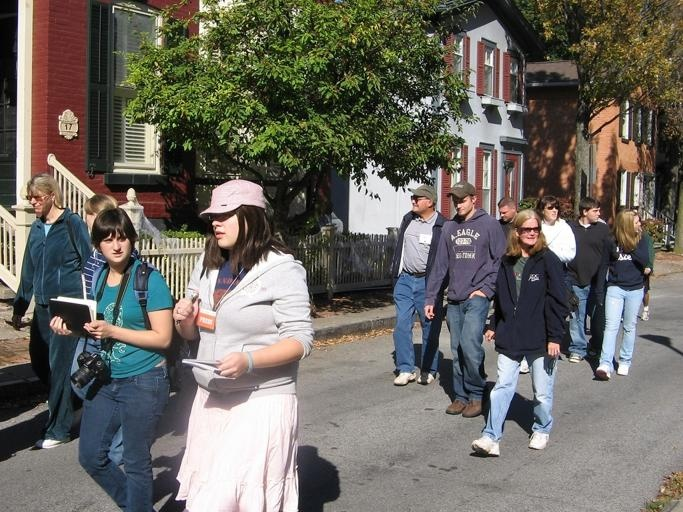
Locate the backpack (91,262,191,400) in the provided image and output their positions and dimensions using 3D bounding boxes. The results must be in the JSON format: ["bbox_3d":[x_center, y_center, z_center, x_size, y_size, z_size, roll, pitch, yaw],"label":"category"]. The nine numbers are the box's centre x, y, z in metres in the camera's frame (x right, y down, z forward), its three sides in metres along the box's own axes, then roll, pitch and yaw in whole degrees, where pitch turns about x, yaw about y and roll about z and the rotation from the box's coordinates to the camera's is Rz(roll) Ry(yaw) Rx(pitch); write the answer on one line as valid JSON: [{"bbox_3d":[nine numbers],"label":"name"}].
[{"bbox_3d":[-1.326,0.360,4.435,0.486,0.576,0.358,0,7,-44],"label":"backpack"}]

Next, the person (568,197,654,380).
[{"bbox_3d":[3.930,0.537,8.954,0.795,2.359,0.457,-1,4,-22],"label":"person"}]

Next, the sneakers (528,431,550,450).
[{"bbox_3d":[1.925,1.827,6.246,0.092,0.119,0.275,-2,-6,27],"label":"sneakers"}]

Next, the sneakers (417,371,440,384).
[{"bbox_3d":[1.147,1.644,8.549,0.130,0.166,0.383,-3,-10,17],"label":"sneakers"}]

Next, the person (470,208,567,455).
[{"bbox_3d":[1.758,0.739,6.127,0.820,2.355,0.700,1,4,5],"label":"person"}]

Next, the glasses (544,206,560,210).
[{"bbox_3d":[2.955,-0.676,8.957,0.102,0.038,0.104,0,-5,-13],"label":"glasses"}]

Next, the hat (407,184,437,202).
[{"bbox_3d":[1.039,-0.831,8.271,0.316,0.187,0.226,15,7,-13],"label":"hat"}]

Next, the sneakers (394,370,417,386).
[{"bbox_3d":[0.829,1.631,8.446,0.124,0.156,0.355,-4,-6,33],"label":"sneakers"}]

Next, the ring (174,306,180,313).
[{"bbox_3d":[-0.974,0.318,3.739,0.025,0.023,0.031,27,17,2],"label":"ring"}]

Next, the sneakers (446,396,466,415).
[{"bbox_3d":[1.301,1.736,7.277,0.108,0.116,0.270,-1,-3,25],"label":"sneakers"}]

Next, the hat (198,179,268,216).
[{"bbox_3d":[-0.623,-0.328,3.769,0.389,0.224,0.301,-4,-8,-19],"label":"hat"}]

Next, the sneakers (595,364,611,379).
[{"bbox_3d":[3.617,1.616,8.792,0.105,0.132,0.295,-1,-28,7],"label":"sneakers"}]

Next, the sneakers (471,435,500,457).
[{"bbox_3d":[1.363,1.783,5.973,0.275,0.171,0.163,22,-21,-25],"label":"sneakers"}]

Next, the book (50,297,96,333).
[{"bbox_3d":[-1.747,0.362,4.189,0.248,0.272,0.065,9,23,15],"label":"book"}]

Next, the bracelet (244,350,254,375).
[{"bbox_3d":[-0.496,0.585,3.402,0.029,0.103,0.082,0,12,-10],"label":"bracelet"}]
